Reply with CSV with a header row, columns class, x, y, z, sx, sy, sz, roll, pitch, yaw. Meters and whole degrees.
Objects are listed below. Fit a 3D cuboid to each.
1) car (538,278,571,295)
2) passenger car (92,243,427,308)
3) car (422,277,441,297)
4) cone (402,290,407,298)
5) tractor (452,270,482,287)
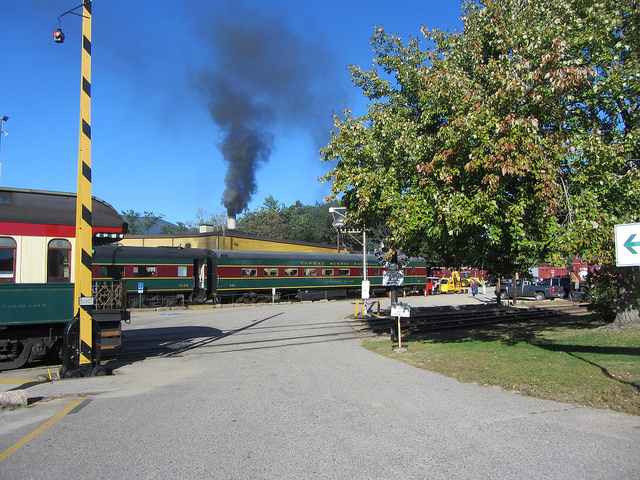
class,x,y,z,sx,sy,sz,roll,pitch,yaw
car,16.570,3.215,35.003,1.914,1.043,1.089,0,3,38
passenger car,-3.771,2.329,30.717,17.738,3.762,2.810,6,-6,-37
car,9.581,3.954,43.619,1.884,1.265,1.176,-3,3,-27
cone,6.789,4.467,40.390,0.242,0.391,0.264,-3,-4,22
tractor,15.049,4.039,51.700,3.612,2.037,2.550,-4,-3,34
